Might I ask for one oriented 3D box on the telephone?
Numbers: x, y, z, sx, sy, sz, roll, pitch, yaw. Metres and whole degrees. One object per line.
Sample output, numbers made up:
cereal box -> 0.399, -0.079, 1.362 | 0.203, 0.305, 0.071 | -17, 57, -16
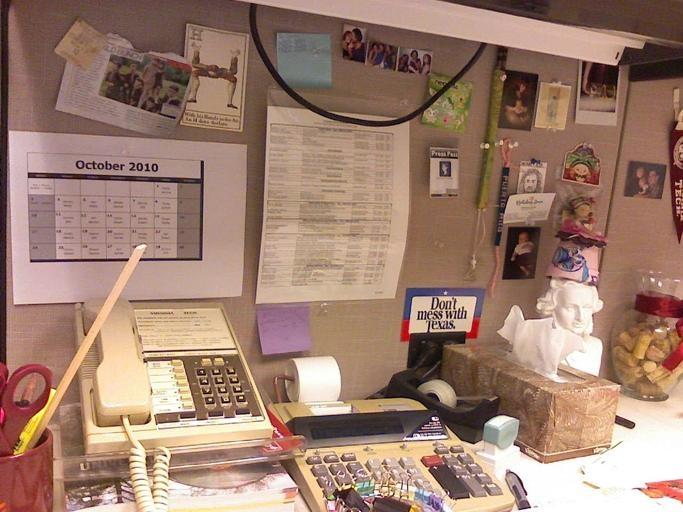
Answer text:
telephone -> -0.285, 0.171, 0.836 | 0.285, 0.095, 0.337 | 6, 22, -23

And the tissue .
tissue  -> 0.396, 0.237, 1.045 | 0.206, 0.150, 0.350 | 3, 9, -31

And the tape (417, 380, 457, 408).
tape -> 0.199, 0.284, 1.075 | 0.059, 0.054, 0.053 | 23, 12, 15

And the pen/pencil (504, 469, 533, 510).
pen/pencil -> 0.306, 0.401, 0.870 | 0.018, 0.015, 0.059 | -2, 20, 5
